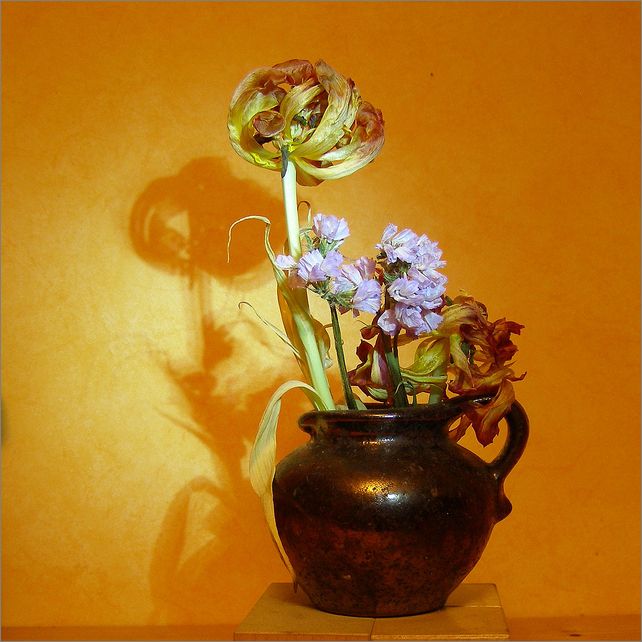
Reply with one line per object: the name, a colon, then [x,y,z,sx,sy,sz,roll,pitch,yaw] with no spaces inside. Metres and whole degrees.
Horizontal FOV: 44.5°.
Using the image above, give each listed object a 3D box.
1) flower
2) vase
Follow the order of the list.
flower: [0.048,0.016,0.944,0.343,0.621,0.229,5,-3,11]
vase: [0.094,0.199,0.910,0.297,0.244,0.249,-2,-4,5]
